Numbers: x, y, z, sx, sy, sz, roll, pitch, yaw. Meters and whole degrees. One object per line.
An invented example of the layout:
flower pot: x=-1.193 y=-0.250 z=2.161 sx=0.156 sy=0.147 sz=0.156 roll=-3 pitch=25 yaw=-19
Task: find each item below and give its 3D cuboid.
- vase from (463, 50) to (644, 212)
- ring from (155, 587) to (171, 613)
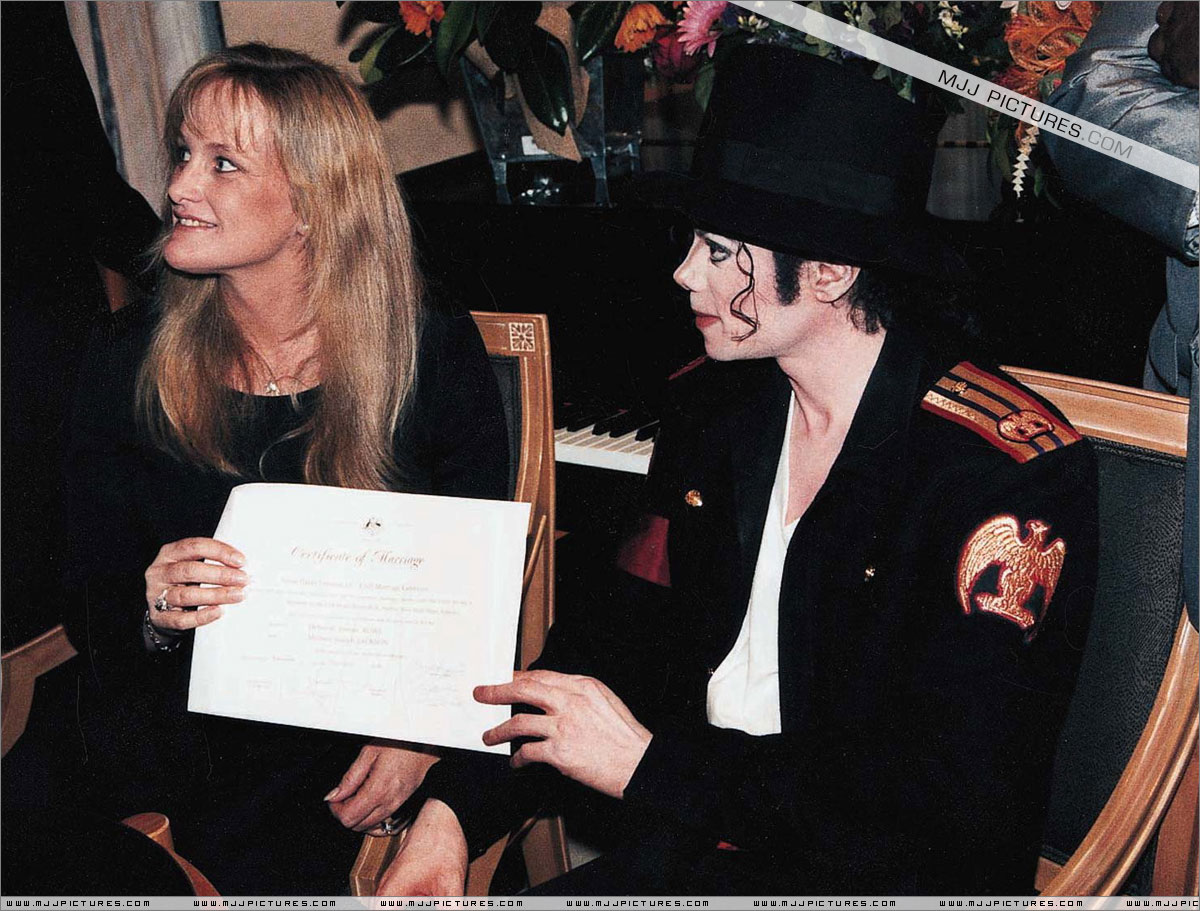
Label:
vase: x=-0.057 y=-0.552 z=2.314 sx=0.348 sy=0.411 sz=0.292 roll=-4 pitch=4 yaw=-24
ring: x=-0.674 y=0.225 z=1.852 sx=0.010 sy=0.029 sz=0.025 roll=12 pitch=11 yaw=-6
